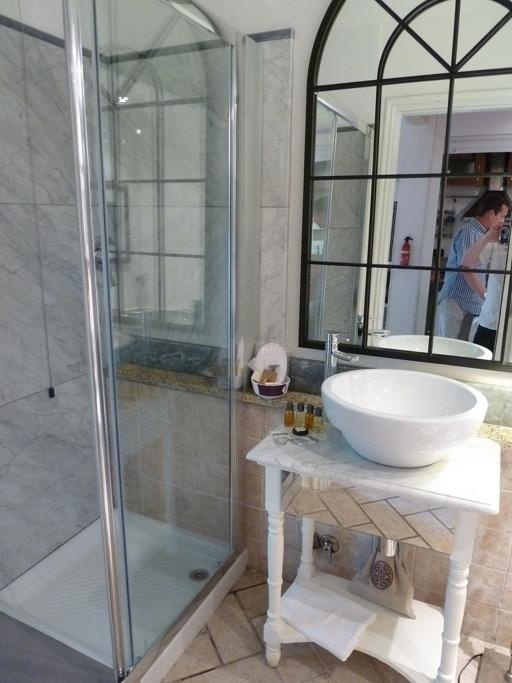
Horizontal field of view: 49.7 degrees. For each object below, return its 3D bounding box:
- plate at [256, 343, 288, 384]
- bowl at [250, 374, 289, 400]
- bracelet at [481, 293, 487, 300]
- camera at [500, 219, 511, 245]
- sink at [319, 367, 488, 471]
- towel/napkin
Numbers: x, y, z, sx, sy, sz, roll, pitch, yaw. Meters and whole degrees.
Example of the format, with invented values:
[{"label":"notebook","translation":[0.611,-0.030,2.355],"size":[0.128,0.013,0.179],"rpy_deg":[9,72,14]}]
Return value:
[{"label":"plate","translation":[0.053,0.085,2.046],"size":[0.111,0.145,0.036],"rpy_deg":[7,-1,20]},{"label":"bowl","translation":[0.061,0.173,2.028],"size":[0.147,0.067,0.105],"rpy_deg":[-4,14,-15]},{"label":"bracelet","translation":[0.719,-0.140,1.749],"size":[0.005,0.016,0.015],"rpy_deg":[19,43,-2]},{"label":"camera","translation":[0.749,-0.327,1.665],"size":[0.027,0.071,0.011],"rpy_deg":[5,15,22]},{"label":"sink","translation":[0.392,0.190,1.489],"size":[0.333,0.124,0.322],"rpy_deg":[-1,14,-1]},{"label":"towel/napkin","translation":[0.204,0.860,1.731],"size":[0.221,0.067,0.222],"rpy_deg":[9,11,36]}]
